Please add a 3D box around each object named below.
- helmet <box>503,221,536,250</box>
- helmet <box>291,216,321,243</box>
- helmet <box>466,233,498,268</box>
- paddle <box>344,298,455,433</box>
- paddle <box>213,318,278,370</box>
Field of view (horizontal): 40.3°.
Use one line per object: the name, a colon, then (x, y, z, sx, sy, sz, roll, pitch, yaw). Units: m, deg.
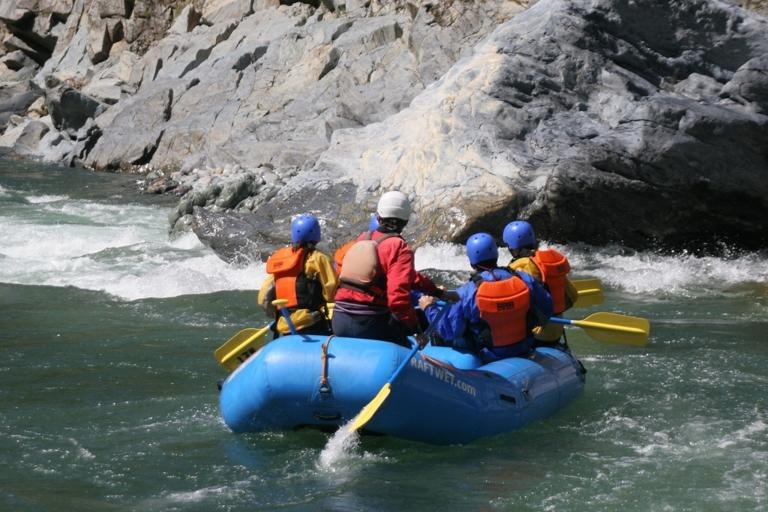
helmet: (2.026, -0.349, 16.550, 0.442, 0.481, 0.511, -4, 8, -41)
helmet: (-1.231, -0.420, 16.023, 0.500, 0.342, 0.346, -4, 8, -22)
helmet: (1.463, -0.116, 15.846, 0.491, 0.481, 0.501, -5, 18, -2)
paddle: (0.184, 1.635, 15.295, 0.278, 2.528, 0.230, 34, -24, 18)
paddle: (-2.200, 1.421, 16.372, 1.072, 0.281, 0.569, -31, -15, -2)
